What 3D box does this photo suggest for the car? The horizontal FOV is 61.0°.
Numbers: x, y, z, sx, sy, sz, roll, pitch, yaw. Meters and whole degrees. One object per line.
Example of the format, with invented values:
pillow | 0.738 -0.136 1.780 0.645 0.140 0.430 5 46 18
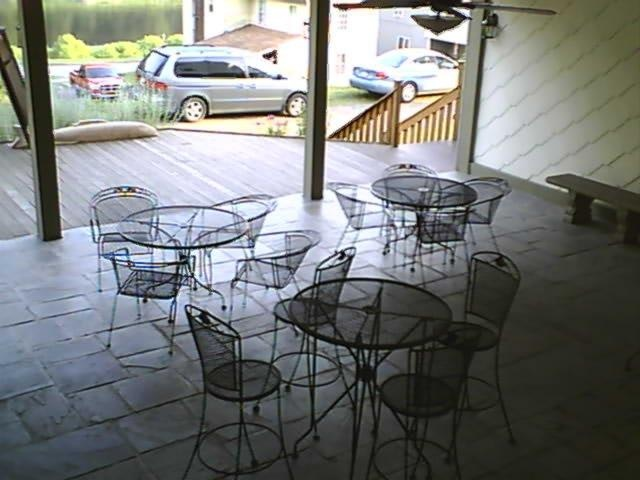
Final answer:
car | 2.201 -4.515 14.476 3.446 0.907 1.528 -15 33 -22
